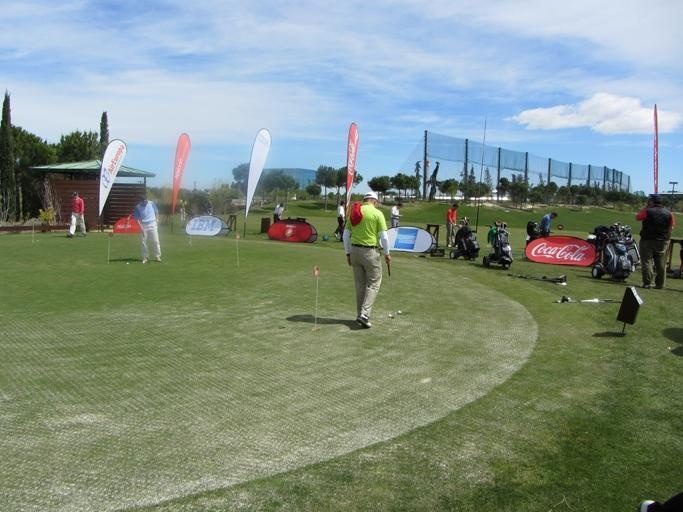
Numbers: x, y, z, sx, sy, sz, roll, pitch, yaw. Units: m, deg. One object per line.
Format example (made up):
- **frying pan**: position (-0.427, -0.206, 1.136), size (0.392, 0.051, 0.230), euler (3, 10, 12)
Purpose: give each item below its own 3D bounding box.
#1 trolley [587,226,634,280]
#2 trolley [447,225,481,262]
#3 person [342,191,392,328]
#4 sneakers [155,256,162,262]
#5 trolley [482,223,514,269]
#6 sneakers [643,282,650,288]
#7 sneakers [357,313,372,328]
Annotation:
- **trolley**: position (7.919, -0.137, 17.318), size (1.170, 1.405, 0.944), euler (-12, 19, -28)
- **trolley**: position (4.685, -0.573, 22.343), size (0.964, 1.448, 1.041), euler (3, 2, 41)
- **person**: position (0.446, 0.058, 10.794), size (0.839, 2.377, 1.599), euler (2, 13, 4)
- **sneakers**: position (-5.691, 0.081, 18.509), size (0.099, 0.220, 0.299), euler (1, 4, 4)
- **trolley**: position (5.259, -0.354, 19.793), size (0.894, 1.501, 0.996), euler (0, 7, -16)
- **sneakers**: position (7.804, 0.750, 15.197), size (0.176, 0.146, 0.103), euler (10, 16, 31)
- **sneakers**: position (0.401, 1.105, 10.351), size (0.242, 0.271, 0.266), euler (3, 14, 7)
